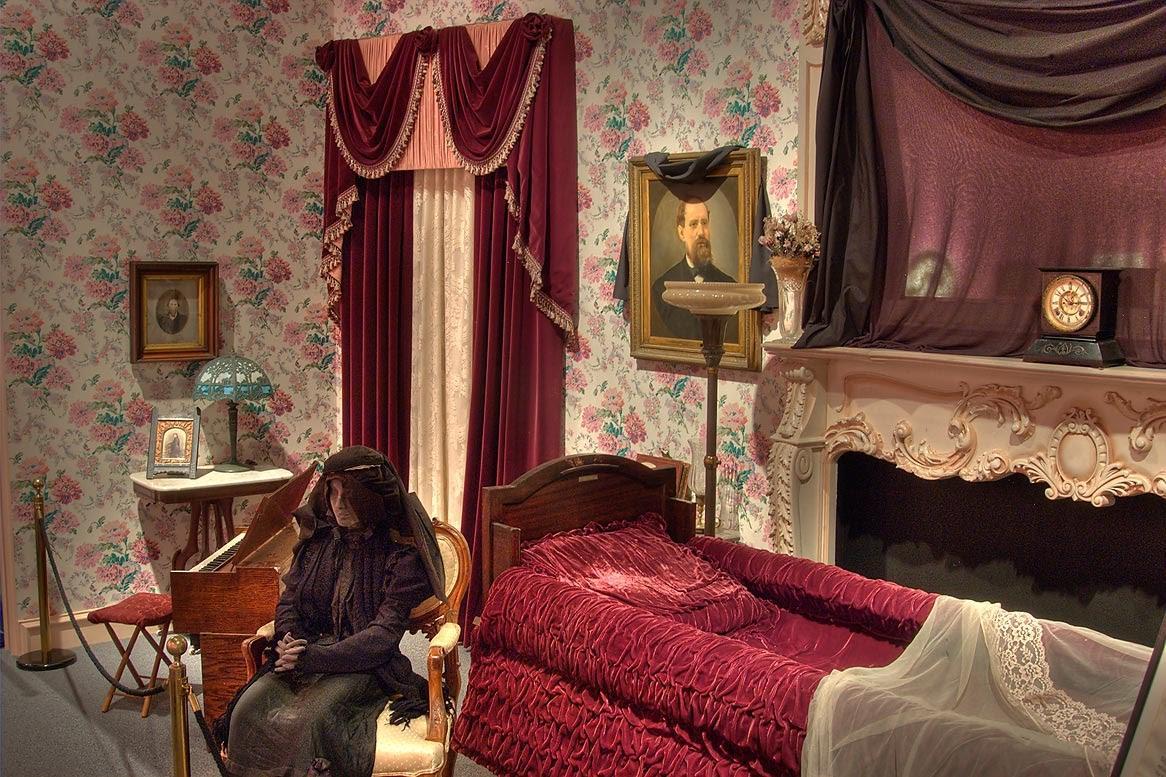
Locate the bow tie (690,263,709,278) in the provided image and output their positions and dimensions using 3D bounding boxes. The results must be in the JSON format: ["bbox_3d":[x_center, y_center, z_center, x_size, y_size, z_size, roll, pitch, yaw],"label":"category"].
[{"bbox_3d":[0.666,-0.669,5.264,0.110,0.085,0.048,0,2,6],"label":"bow tie"}]

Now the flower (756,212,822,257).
[{"bbox_3d":[1.054,-0.758,4.673,0.233,0.213,0.240,11,11,43],"label":"flower"}]

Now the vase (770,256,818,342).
[{"bbox_3d":[1.070,-0.451,4.741,0.205,0.461,0.166,1,2,12],"label":"vase"}]

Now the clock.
[{"bbox_3d":[2.165,-0.324,4.035,0.215,0.423,0.324,-7,11,-38],"label":"clock"}]

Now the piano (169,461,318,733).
[{"bbox_3d":[-1.803,1.139,4.965,0.509,1.089,0.752,1,-5,-3],"label":"piano"}]

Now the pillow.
[{"bbox_3d":[0.314,0.899,4.476,0.639,0.213,0.642,5,13,-39],"label":"pillow"}]

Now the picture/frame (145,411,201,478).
[{"bbox_3d":[-2.644,0.373,5.910,0.374,0.582,0.060,1,-12,-10],"label":"picture/frame"}]
